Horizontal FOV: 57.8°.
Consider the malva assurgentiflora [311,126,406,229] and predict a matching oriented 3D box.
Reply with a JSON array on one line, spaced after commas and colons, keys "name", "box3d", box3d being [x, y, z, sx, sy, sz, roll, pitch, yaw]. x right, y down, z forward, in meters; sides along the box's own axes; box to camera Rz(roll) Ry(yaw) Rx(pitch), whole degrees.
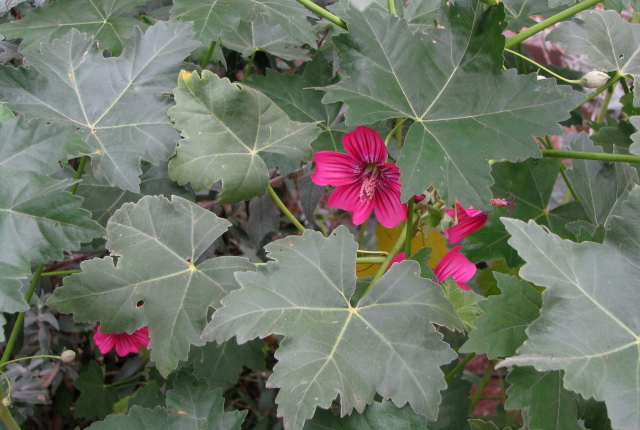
[{"name": "malva assurgentiflora", "box3d": [0.100, -0.069, 1.146, 0.184, 0.077, 0.208, -19, 63, -32]}]
